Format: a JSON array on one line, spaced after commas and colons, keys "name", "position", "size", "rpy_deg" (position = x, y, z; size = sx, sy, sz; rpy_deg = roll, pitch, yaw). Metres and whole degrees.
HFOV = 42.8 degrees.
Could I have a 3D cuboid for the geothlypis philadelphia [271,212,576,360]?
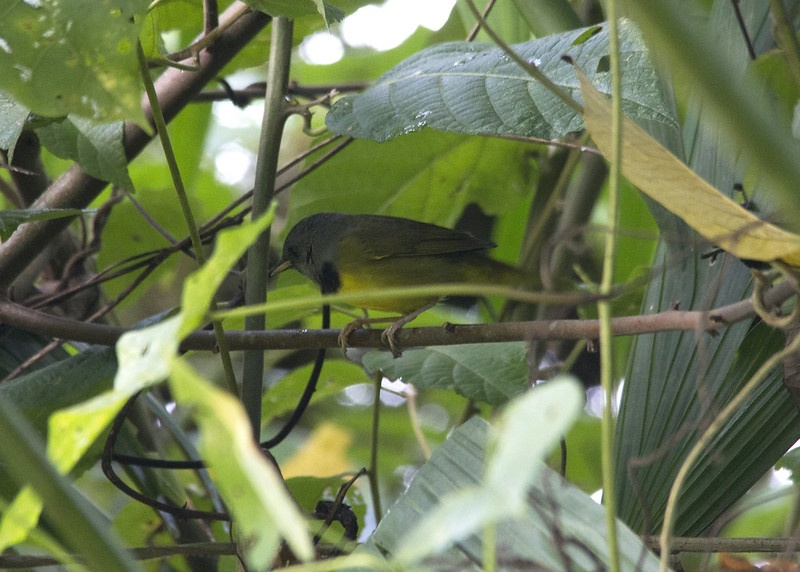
[{"name": "geothlypis philadelphia", "position": [0.061, -0.078, 3.828], "size": [1.096, 0.515, 0.357], "rpy_deg": [-10, -6, -6]}]
